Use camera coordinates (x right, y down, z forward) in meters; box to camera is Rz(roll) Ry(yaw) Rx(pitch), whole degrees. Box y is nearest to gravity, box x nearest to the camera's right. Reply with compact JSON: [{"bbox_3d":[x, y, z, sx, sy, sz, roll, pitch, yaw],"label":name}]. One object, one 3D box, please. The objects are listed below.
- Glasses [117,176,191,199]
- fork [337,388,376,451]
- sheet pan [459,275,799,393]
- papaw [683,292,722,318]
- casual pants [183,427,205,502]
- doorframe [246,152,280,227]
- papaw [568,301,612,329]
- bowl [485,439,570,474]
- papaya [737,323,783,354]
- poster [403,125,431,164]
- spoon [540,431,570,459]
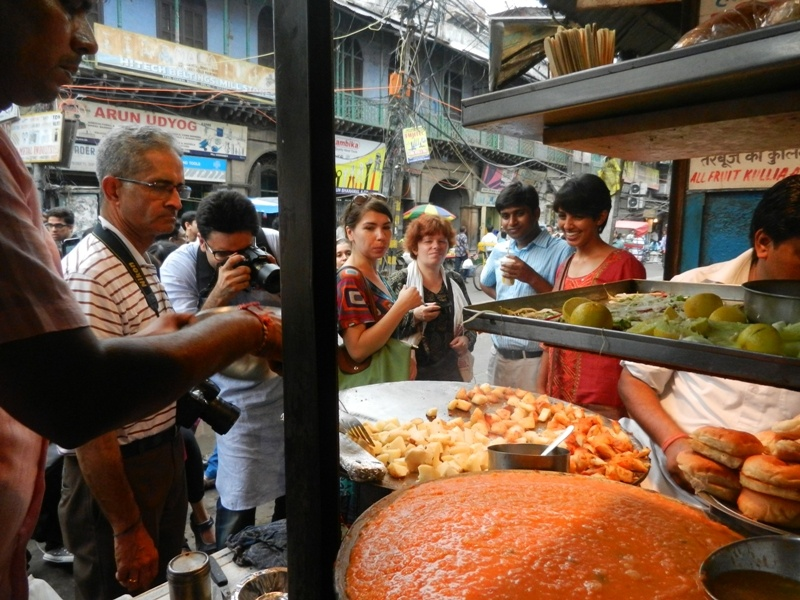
[{"bbox_3d":[-1.113,-0.496,2.696,0.206,0.059,0.199,15,10,15],"label":"Glasses"},{"bbox_3d":[-0.221,0.499,2.505,0.068,0.056,0.384,-25,27,-21],"label":"fork"},{"bbox_3d":[0.827,0.028,2.037,0.821,0.106,1.214,8,12,28],"label":"sheet pan"},{"bbox_3d":[0.951,0.022,1.911,0.102,0.072,0.075,3,-7,-23],"label":"papaw"},{"bbox_3d":[-1.390,1.150,4.103,0.138,0.504,0.128,-4,11,-35],"label":"casual pants"},{"bbox_3d":[-3.110,-2.691,14.242,0.169,1.439,0.813,12,1,-25],"label":"doorframe"},{"bbox_3d":[0.549,0.043,1.764,0.093,0.089,0.091,-16,19,-32],"label":"papaw"},{"bbox_3d":[0.423,0.528,2.004,0.143,0.049,0.139,0,1,0],"label":"bowl"},{"bbox_3d":[0.922,0.098,1.552,0.098,0.056,0.104,8,12,28],"label":"papaya"},{"bbox_3d":[0.295,-2.948,11.596,0.520,0.680,0.188,-8,13,8],"label":"poster"},{"bbox_3d":[0.553,0.523,2.159,0.018,0.127,0.018,42,-11,24],"label":"spoon"}]
